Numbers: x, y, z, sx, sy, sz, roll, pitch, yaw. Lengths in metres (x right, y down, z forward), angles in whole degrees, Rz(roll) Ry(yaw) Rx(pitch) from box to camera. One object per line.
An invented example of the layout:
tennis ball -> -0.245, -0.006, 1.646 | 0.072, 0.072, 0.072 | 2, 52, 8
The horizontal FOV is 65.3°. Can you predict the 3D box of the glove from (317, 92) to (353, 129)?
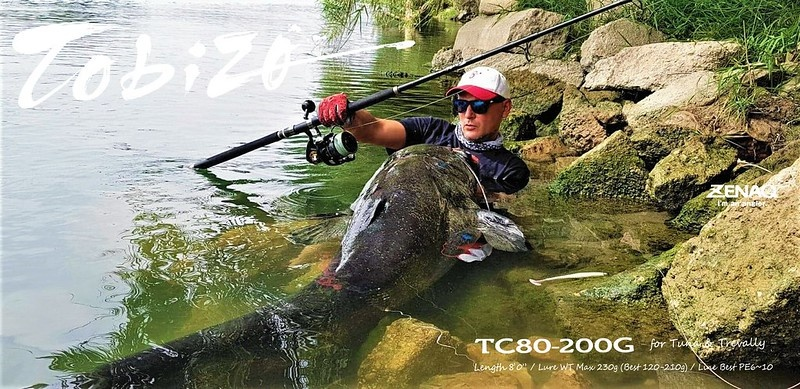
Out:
glove -> -0.975, -1.231, 9.417 | 0.509, 0.230, 0.513 | -3, 42, 4
